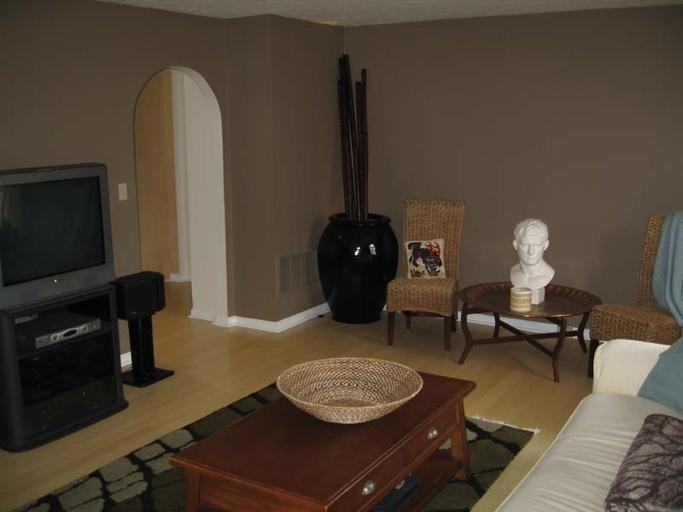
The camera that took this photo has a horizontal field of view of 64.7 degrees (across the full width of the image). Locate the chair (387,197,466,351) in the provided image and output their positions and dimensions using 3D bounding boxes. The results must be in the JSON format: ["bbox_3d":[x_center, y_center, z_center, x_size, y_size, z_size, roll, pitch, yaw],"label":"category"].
[{"bbox_3d":[0.790,0.139,5.026,0.647,1.244,0.933,3,14,12],"label":"chair"}]

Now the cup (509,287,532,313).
[{"bbox_3d":[1.397,0.337,4.193,0.169,0.196,0.174,0,5,0],"label":"cup"}]

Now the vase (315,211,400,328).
[{"bbox_3d":[0.173,0.155,5.379,0.813,1.047,0.326,-1,14,-4],"label":"vase"}]
